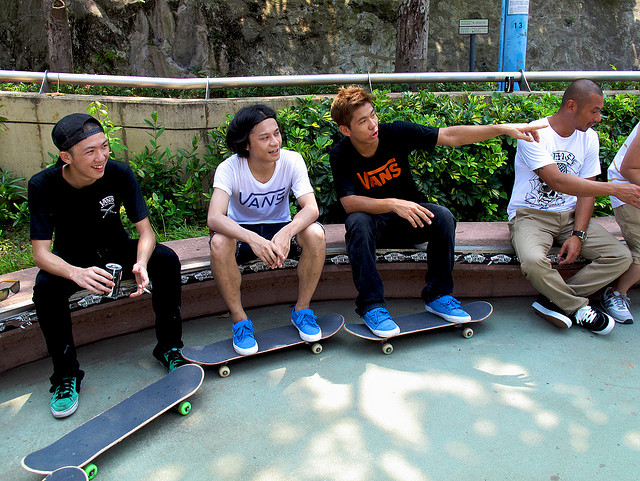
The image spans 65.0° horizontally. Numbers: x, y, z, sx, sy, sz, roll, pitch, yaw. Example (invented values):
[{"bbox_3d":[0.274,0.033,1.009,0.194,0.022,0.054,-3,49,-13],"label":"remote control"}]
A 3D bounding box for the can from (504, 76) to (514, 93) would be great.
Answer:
[{"bbox_3d":[2.199,-1.827,5.838,0.098,0.182,0.135,4,19,19],"label":"can"}]

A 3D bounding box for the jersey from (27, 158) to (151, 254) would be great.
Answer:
[{"bbox_3d":[-1.684,-0.287,3.704,0.804,0.616,0.408,-9,31,-29],"label":"jersey"}]

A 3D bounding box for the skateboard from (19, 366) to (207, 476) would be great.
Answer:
[{"bbox_3d":[-1.273,1.136,3.126,0.793,0.125,0.213,-26,31,-28],"label":"skateboard"}]

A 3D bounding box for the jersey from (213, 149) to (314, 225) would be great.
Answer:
[{"bbox_3d":[-0.480,-0.414,4.077,0.802,0.657,0.471,0,17,-11],"label":"jersey"}]

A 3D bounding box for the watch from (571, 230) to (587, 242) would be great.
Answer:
[{"bbox_3d":[2.135,-0.053,4.120,0.105,0.067,0.109,24,-4,-9],"label":"watch"}]
